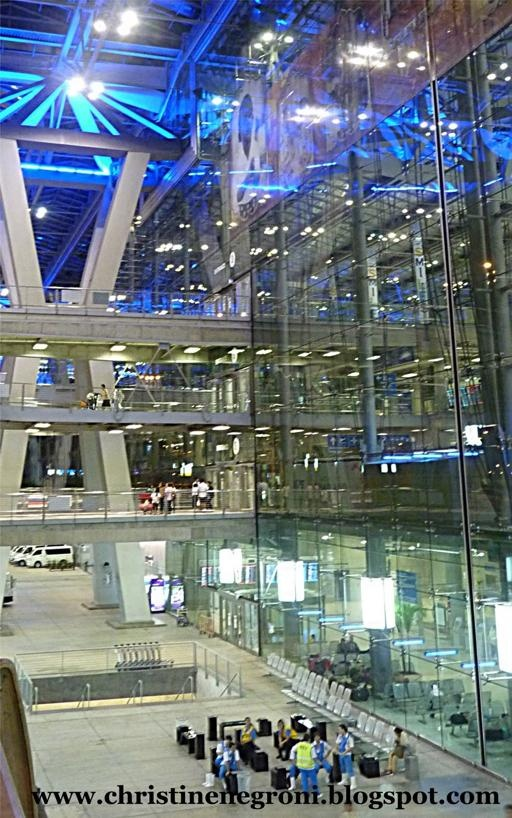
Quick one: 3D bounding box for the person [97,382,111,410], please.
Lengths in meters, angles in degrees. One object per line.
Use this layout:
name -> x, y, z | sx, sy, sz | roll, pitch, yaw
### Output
person -> -6.324, -0.561, 27.522 | 0.478, 1.234, 2.450 | -1, -5, -13

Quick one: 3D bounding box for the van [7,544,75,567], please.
van -> -17.914, 12.383, 55.624 | 4.867, 1.678, 1.795 | -2, -5, -7

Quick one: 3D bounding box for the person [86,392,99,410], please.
person -> -6.689, -0.329, 26.935 | 0.452, 0.656, 1.233 | -1, -5, -14

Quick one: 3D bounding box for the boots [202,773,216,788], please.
boots -> -0.910, 7.394, 13.264 | 0.257, 0.240, 0.214 | 0, -10, 15
